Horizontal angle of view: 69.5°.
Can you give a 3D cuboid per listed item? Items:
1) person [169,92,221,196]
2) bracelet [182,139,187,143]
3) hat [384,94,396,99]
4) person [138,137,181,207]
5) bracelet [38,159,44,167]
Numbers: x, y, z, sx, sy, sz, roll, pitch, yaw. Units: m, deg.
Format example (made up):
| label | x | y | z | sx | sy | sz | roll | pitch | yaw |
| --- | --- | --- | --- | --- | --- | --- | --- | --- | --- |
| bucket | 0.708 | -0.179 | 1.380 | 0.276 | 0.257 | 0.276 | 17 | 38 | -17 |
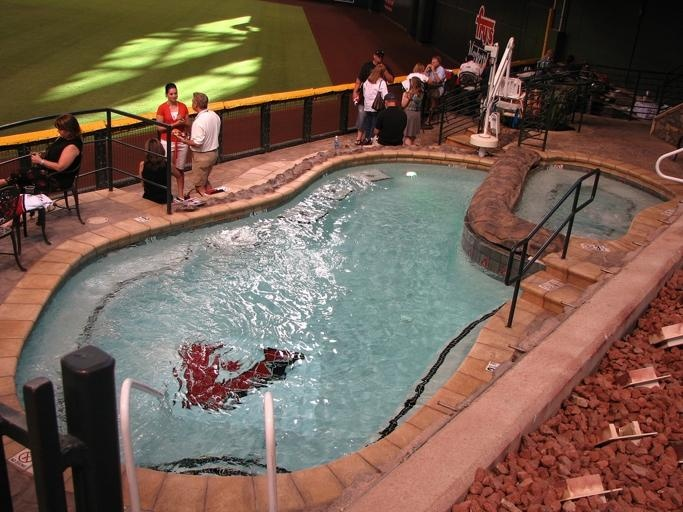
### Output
| label | x | y | z | sx | sy | sz | roll | pitch | yaw |
| --- | --- | --- | --- | --- | --- | --- | --- | --- | --- |
| person | -2.426 | -1.829 | 8.317 | 0.665 | 1.733 | 0.387 | -2 | 31 | -16 |
| bracelet | -2.592 | -1.858 | 8.060 | 0.085 | 0.073 | 0.076 | -3 | 28 | -17 |
| hat | 1.089 | -3.546 | 11.023 | 0.188 | 0.125 | 0.291 | 16 | 27 | 19 |
| person | -2.900 | -1.289 | 7.694 | 0.311 | 1.040 | 0.880 | -17 | 35 | -37 |
| bracelet | -4.130 | -1.261 | 6.702 | 0.067 | 0.085 | 0.090 | 3 | 12 | -9 |
